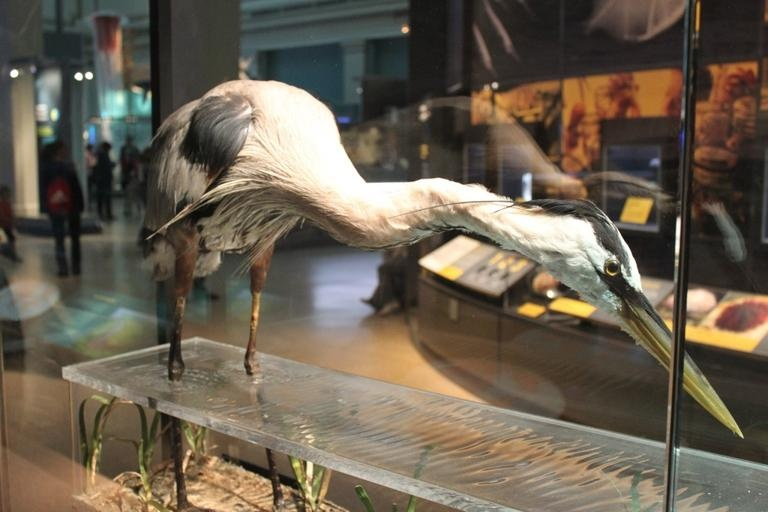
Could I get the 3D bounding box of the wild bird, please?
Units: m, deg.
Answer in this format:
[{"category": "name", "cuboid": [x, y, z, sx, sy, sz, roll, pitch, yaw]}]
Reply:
[{"category": "wild bird", "cuboid": [0.028, -0.193, 2.871, 2.433, 1.211, 0.679, 19, 21, 29]}]
